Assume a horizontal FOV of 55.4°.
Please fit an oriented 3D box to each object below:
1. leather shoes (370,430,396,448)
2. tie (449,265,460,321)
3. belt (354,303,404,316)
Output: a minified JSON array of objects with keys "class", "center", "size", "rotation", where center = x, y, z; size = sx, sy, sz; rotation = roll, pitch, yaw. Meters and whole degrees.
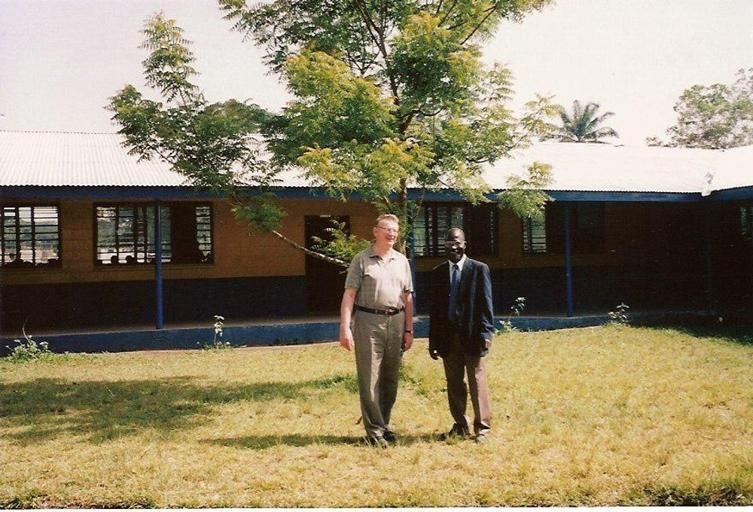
[{"class":"leather shoes","center":[0.086,2.412,9.500],"size":[0.420,0.169,0.138],"rotation":[-6,15,-21]},{"class":"tie","center":[1.045,0.507,9.605],"size":[0.084,0.807,0.164],"rotation":[10,-11,-39]},{"class":"belt","center":[0.041,0.708,9.423],"size":[0.618,0.149,0.141],"rotation":[-1,11,-1]}]
